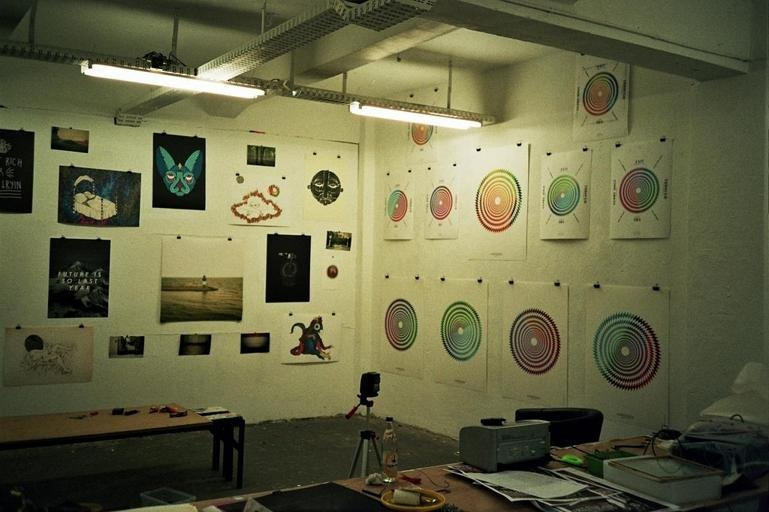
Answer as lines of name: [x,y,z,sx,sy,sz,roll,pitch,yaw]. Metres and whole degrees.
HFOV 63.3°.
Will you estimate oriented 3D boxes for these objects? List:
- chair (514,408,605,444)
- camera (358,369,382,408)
chair: [1.675,1.583,5.920,0.569,0.531,0.611,4,-16,-20]
camera: [-0.127,1.101,5.190,0.201,0.250,0.203,-5,-17,18]
